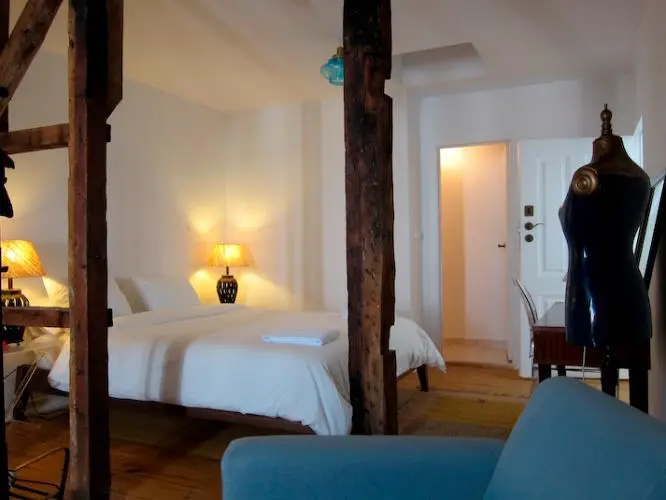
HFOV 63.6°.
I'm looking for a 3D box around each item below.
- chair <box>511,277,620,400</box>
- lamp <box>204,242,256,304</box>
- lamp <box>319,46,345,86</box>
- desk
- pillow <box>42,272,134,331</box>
[{"bbox_3d":[1.185,0.511,2.756,0.457,0.700,0.676,-1,0,24],"label":"chair"},{"bbox_3d":[-1.199,0.263,6.114,0.543,0.864,0.592,0,2,-22],"label":"lamp"},{"bbox_3d":[0.061,-1.399,4.094,0.248,0.278,0.141,0,11,34],"label":"lamp"},{"bbox_3d":[1.265,0.529,2.727,0.623,0.664,0.458,1,3,34],"label":"desk"},{"bbox_3d":[-1.978,0.358,4.282,0.579,0.188,0.549,22,6,-12],"label":"pillow"}]
